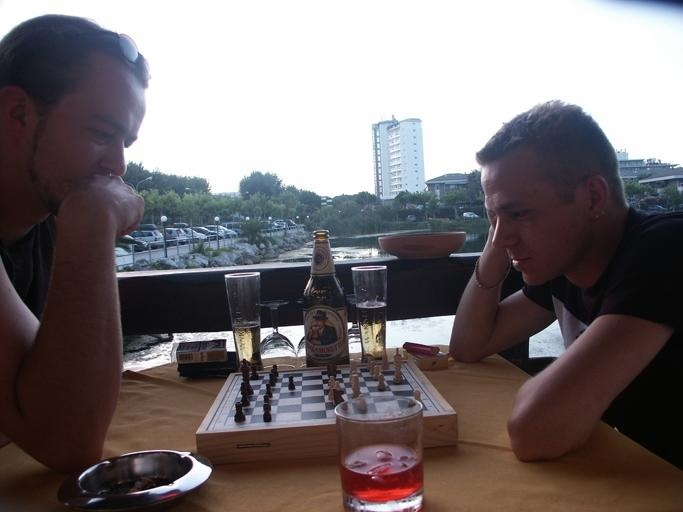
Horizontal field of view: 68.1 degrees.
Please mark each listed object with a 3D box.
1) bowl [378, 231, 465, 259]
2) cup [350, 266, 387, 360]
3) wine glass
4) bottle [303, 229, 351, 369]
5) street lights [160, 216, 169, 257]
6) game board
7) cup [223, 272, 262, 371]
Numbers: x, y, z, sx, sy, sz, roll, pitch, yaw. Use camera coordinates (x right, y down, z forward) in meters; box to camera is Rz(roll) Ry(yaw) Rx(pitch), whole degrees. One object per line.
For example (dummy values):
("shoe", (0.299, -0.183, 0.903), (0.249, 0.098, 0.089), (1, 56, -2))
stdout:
("bowl", (0.382, -0.070, 2.459), (0.324, 0.135, 0.246), (1, 5, 5))
("cup", (0.086, 0.182, 1.669), (0.089, 0.298, 0.107), (-3, 0, -3))
("wine glass", (-0.231, 0.285, 1.817), (0.138, 0.228, 0.157), (0, 4, -9))
("bottle", (-0.053, 0.130, 1.606), (0.131, 0.436, 0.162), (1, 2, -1))
("street lights", (-0.824, -0.089, 2.357), (0.031, 0.202, 0.055), (-6, 7, -16))
("game board", (-0.060, 0.340, 1.226), (0.514, 0.168, 0.431), (-1, -2, -12))
("cup", (-0.305, 0.213, 1.621), (0.094, 0.332, 0.099), (-4, 6, 0))
